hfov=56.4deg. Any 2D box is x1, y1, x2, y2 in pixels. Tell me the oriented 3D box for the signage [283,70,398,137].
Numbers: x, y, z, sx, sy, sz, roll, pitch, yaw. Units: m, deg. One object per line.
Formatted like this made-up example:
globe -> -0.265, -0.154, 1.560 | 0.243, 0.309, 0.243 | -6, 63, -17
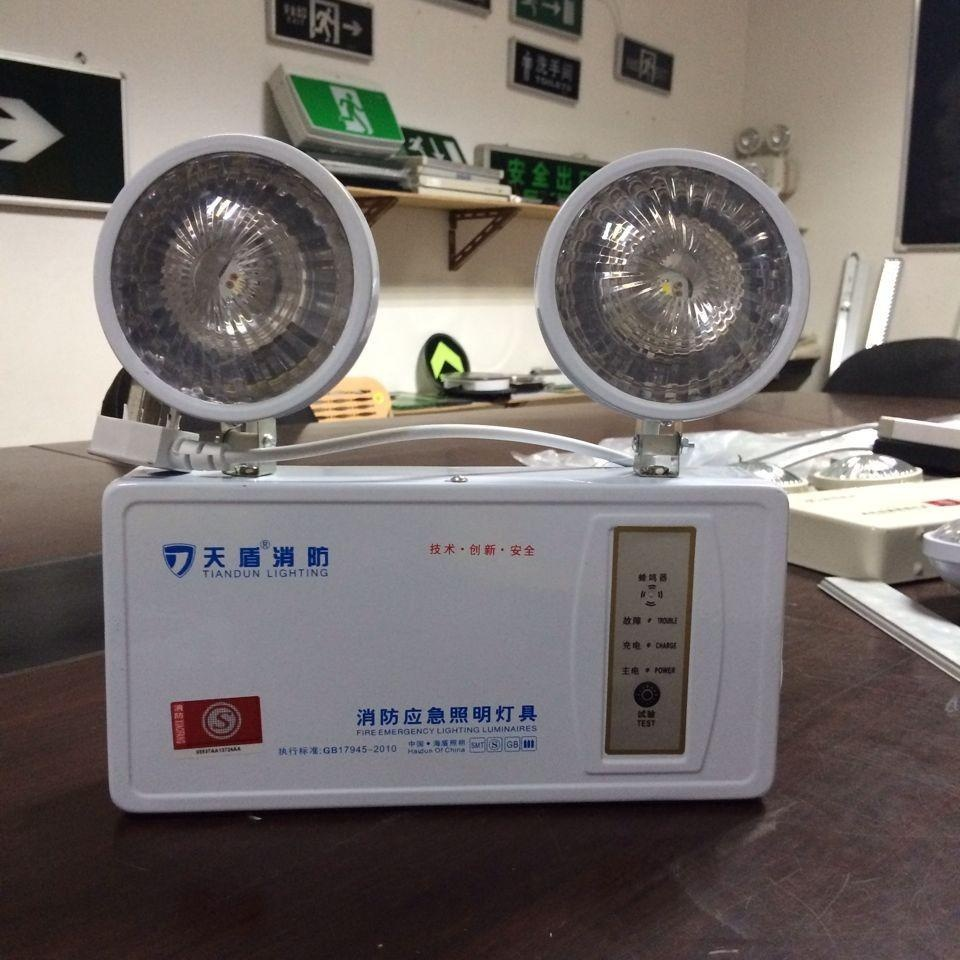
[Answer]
signage -> -0.407, -1.153, 2.758 | 0.350, 0.192, 0.202 | -12, 19, -39
